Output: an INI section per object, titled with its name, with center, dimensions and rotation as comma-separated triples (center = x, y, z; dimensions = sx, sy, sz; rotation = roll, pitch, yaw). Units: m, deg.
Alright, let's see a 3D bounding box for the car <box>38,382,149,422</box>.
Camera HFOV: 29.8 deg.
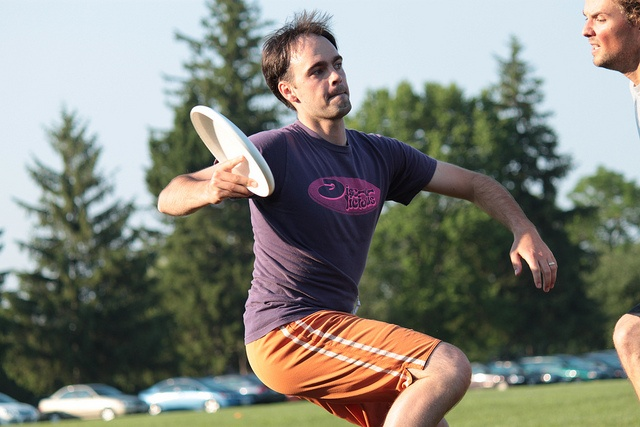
[car]
center = -14.031, 11.516, 73.515
dimensions = 5.773, 2.324, 2.761
rotation = -5, -8, 9
